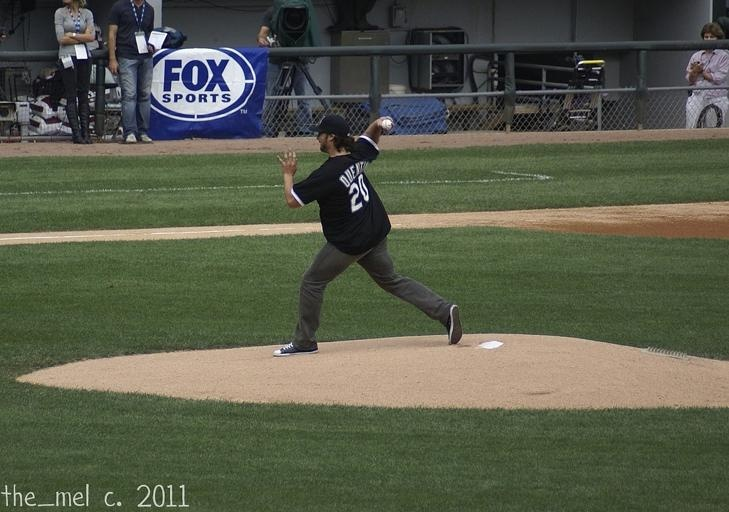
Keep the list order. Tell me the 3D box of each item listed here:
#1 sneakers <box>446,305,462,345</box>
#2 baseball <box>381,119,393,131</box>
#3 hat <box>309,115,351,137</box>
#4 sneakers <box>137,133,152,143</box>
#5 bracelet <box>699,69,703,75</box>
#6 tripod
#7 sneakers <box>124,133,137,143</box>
[{"bbox_3d":[1.085,0.810,21.906,0.177,0.474,0.182,-11,14,-27],"label":"sneakers"},{"bbox_3d":[0.253,-1.624,22.026,0.131,0.142,0.144,-1,-3,1],"label":"baseball"},{"bbox_3d":[-0.421,-1.587,21.632,0.346,0.178,0.242,14,13,8],"label":"hat"},{"bbox_3d":[-3.643,-1.933,29.073,0.114,0.111,0.247,-11,12,-36],"label":"sneakers"},{"bbox_3d":[5.685,-3.083,30.048,0.043,0.061,0.020,33,29,20],"label":"bracelet"},{"bbox_3d":[-1.230,-3.046,29.965,1.140,1.575,1.056,-1,12,-21],"label":"tripod"},{"bbox_3d":[-3.878,-1.930,28.973,0.158,0.197,0.431,0,1,-10],"label":"sneakers"}]
